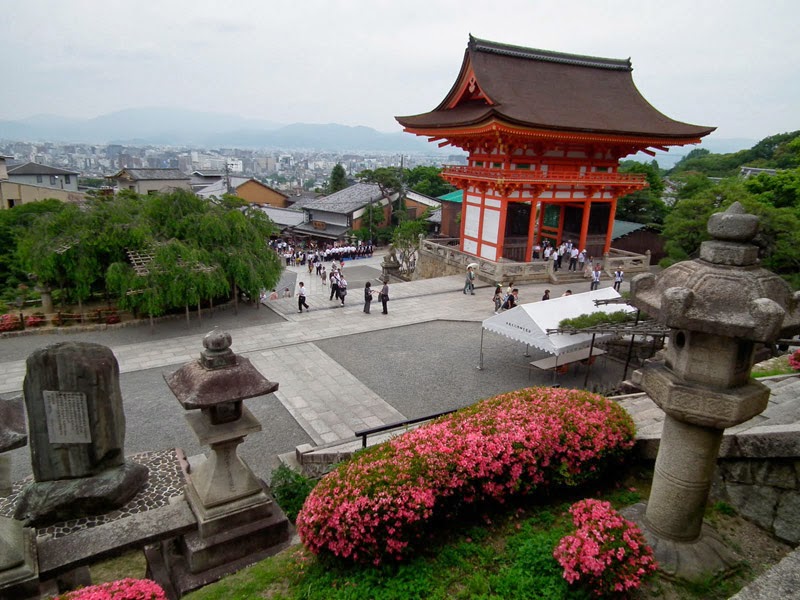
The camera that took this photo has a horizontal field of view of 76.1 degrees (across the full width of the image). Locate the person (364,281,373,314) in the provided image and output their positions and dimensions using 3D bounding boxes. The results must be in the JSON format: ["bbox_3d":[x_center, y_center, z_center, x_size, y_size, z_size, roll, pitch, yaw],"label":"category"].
[{"bbox_3d":[-1.535,-0.133,24.573,0.408,1.463,1.546,-9,11,1],"label":"person"}]

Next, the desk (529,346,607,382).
[{"bbox_3d":[5.447,1.961,16.963,2.807,1.076,1.301,-15,14,-36],"label":"desk"}]

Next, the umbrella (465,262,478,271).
[{"bbox_3d":[4.229,-1.920,29.178,0.713,0.272,0.510,-11,13,-43],"label":"umbrella"}]

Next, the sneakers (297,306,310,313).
[{"bbox_3d":[-4.769,0.472,25.403,0.720,0.273,0.223,-7,28,-29],"label":"sneakers"}]

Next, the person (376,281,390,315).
[{"bbox_3d":[-0.726,-0.106,24.924,0.494,1.272,1.844,-10,11,-3],"label":"person"}]
